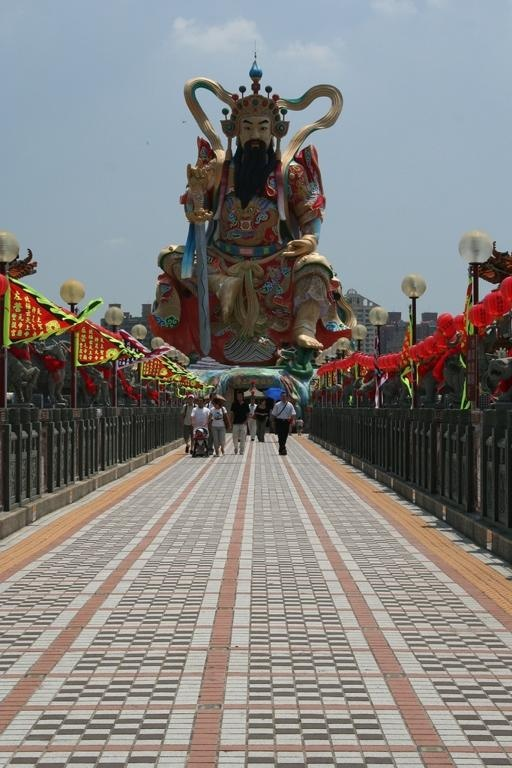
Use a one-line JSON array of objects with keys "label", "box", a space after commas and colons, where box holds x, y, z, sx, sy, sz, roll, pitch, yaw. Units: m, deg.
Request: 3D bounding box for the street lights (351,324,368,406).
[{"label": "street lights", "box": [4.735, -0.964, 34.862, 0.865, 3.726, 0.817, -2, -5, 16]}]
